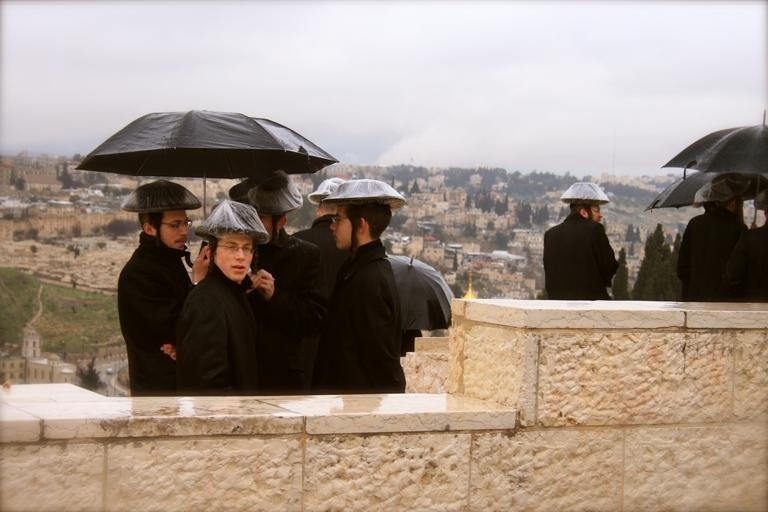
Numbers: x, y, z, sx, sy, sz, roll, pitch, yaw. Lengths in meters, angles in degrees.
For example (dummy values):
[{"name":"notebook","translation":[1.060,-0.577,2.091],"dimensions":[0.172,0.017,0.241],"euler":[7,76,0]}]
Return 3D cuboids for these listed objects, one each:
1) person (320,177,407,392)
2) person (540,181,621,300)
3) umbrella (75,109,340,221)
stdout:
[{"name":"person","translation":[-0.234,0.295,16.940],"dimensions":[1.035,2.476,0.705],"euler":[2,3,3]},{"name":"person","translation":[2.637,-0.245,19.660],"dimensions":[1.042,1.603,0.716],"euler":[3,3,12]},{"name":"umbrella","translation":[-2.339,-1.127,18.599],"dimensions":[2.259,0.714,2.224],"euler":[6,-14,-44]}]
